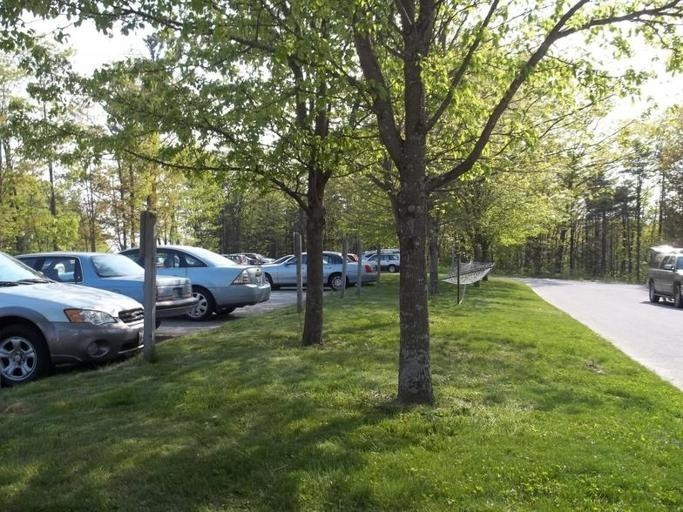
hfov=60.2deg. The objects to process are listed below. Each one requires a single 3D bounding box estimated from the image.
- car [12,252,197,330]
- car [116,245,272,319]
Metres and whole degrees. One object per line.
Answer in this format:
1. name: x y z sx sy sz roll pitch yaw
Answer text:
1. car: -4.997 0.556 12.556 3.486 1.352 1.641 2 -3 10
2. car: -3.868 0.748 15.755 3.811 1.489 1.755 2 -3 7
